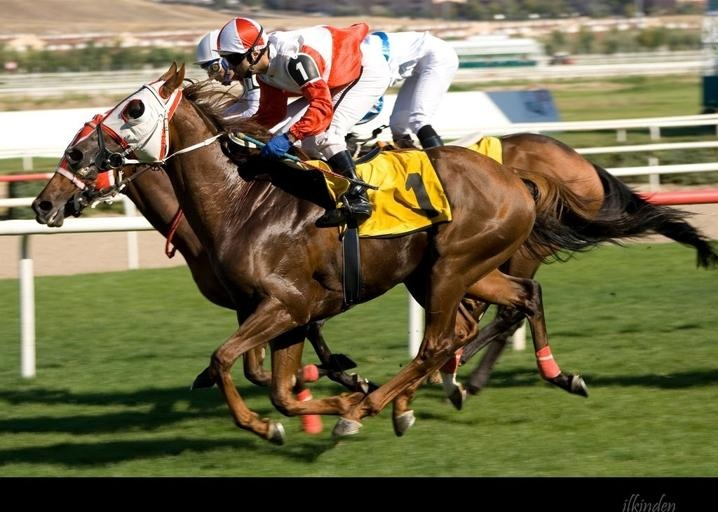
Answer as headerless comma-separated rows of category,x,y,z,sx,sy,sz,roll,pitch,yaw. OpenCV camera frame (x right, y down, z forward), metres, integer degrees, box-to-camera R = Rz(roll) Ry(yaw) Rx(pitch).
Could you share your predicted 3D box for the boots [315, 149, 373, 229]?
boots,-0.078,-0.299,4.087,0.245,0.345,0.232,-4,9,5
